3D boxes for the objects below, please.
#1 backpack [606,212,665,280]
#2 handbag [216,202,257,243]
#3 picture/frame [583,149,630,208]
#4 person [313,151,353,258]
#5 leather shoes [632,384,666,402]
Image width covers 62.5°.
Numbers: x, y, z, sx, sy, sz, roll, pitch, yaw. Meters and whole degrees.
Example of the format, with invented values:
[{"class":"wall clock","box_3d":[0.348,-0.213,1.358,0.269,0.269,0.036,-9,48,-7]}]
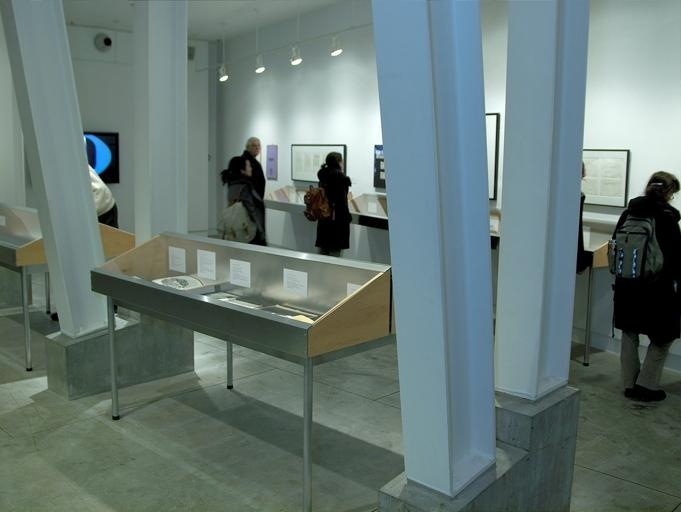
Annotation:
[{"class":"backpack","box_3d":[2.593,-0.068,4.937,0.451,0.565,0.191,10,16,35]},{"class":"handbag","box_3d":[-1.207,-0.396,6.548,0.475,0.464,0.260,0,13,1]},{"class":"picture/frame","box_3d":[2.873,-0.848,6.036,0.021,0.596,0.574,-9,27,-33]},{"class":"person","box_3d":[-0.098,-0.687,7.887,0.476,1.506,0.473,0,13,0]},{"class":"leather shoes","box_3d":[2.777,1.257,5.130,0.305,0.137,0.133,-2,5,7]}]
